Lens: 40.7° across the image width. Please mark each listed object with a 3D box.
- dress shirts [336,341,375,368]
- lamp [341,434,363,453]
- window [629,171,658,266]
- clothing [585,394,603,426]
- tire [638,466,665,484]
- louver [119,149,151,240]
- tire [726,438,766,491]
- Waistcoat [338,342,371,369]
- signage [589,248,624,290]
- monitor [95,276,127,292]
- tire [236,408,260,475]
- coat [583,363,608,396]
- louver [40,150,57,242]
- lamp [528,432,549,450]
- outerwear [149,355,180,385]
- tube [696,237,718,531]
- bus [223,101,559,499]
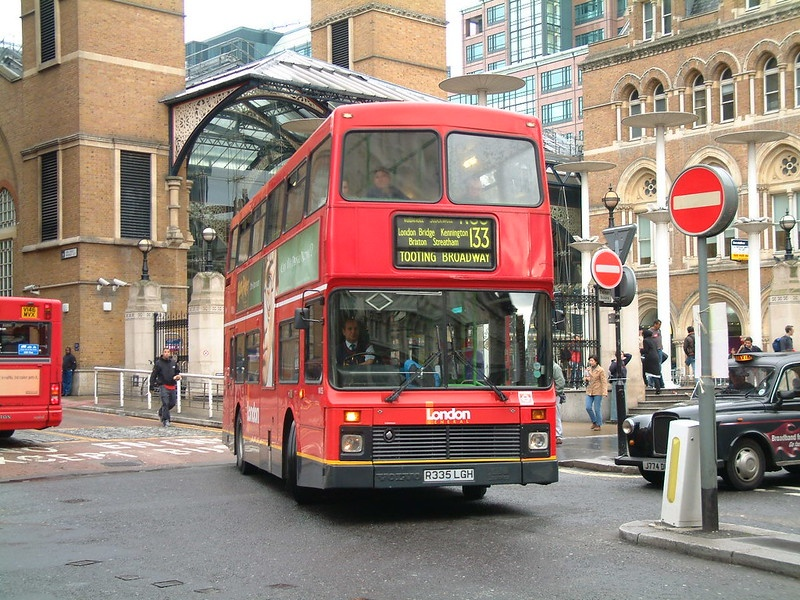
[{"bbox_3d":[-0.594,0.741,14.542,0.384,0.388,0.141,4,8,-5],"label":"dress shirts"},{"bbox_3d":[-0.654,1.931,14.363,0.254,0.252,0.069,3,-8,-3],"label":"lamp"},{"bbox_3d":[12.193,-3.955,54.154,1.111,4.494,0.340,-11,25,-16],"label":"window"},{"bbox_3d":[4.842,2.814,27.163,0.370,0.788,0.405,0,-6,8],"label":"clothing"},{"bbox_3d":[4.083,2.931,17.668,0.500,0.305,0.500,3,-11,-6],"label":"tire"},{"bbox_3d":[-10.833,-4.360,44.544,0.412,3.652,1.638,-4,-7,42],"label":"louver"},{"bbox_3d":[5.362,2.586,16.947,0.825,0.823,0.312,-2,0,-26],"label":"tire"},{"bbox_3d":[-0.594,0.732,14.545,0.475,0.339,0.074,0,-6,7],"label":"Waistcoat"},{"bbox_3d":[3.720,-0.579,19.658,0.732,0.707,0.085,2,-8,-32],"label":"signage"},{"bbox_3d":[-11.510,-0.653,43.487,1.210,0.547,0.730,6,-8,-41],"label":"monitor"},{"bbox_3d":[-2.890,2.745,20.660,0.402,1.183,1.184,-1,1,-7],"label":"tire"},{"bbox_3d":[4.916,2.026,27.265,0.937,0.888,0.433,-1,-5,33],"label":"coat"},{"bbox_3d":[-14.541,-4.756,44.809,0.124,3.004,1.192,8,14,17],"label":"louver"},{"bbox_3d":[1.880,1.951,14.798,0.269,0.247,0.063,3,-5,-12],"label":"lamp"},{"bbox_3d":[-6.400,1.959,29.429,0.680,0.810,0.626,2,-6,-13],"label":"outerwear"},{"bbox_3d":[3.760,1.010,13.323,0.213,3.658,0.620,-1,-6,16],"label":"tube"},{"bbox_3d":[-0.122,0.197,15.514,3.018,3.708,7.122,0,-4,-16],"label":"bus"}]
